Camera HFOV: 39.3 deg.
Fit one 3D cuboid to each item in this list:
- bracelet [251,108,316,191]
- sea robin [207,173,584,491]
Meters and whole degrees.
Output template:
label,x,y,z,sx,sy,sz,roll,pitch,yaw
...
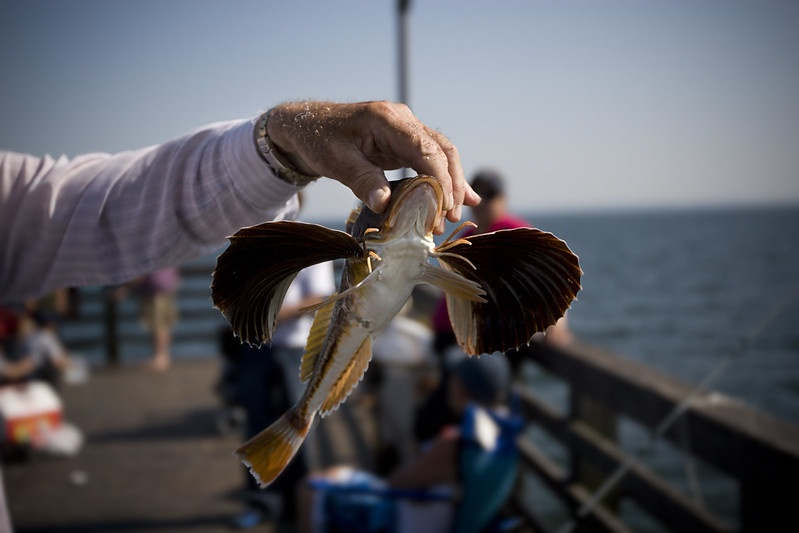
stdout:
label,x,y,z,sx,sy,sz,roll,pitch,yaw
bracelet,-0.531,-0.495,5.030,0.116,0.308,0.279,-42,8,19
sea robin,-0.061,0.095,4.776,1.407,1.388,0.712,11,37,-42
